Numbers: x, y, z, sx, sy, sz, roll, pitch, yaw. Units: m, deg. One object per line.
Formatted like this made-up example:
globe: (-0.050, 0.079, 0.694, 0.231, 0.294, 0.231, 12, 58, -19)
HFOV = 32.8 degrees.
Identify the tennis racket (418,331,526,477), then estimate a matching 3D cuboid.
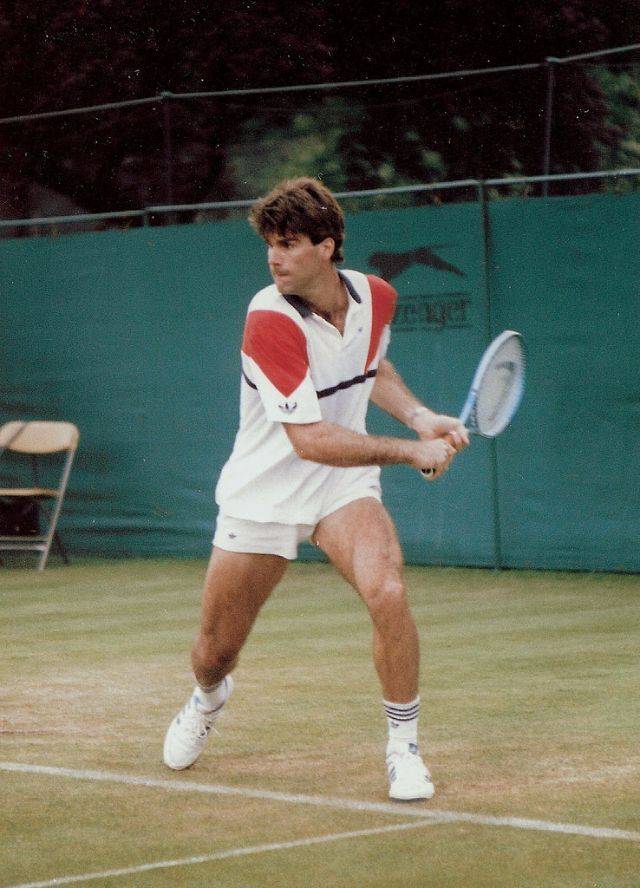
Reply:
tennis racket: (0.773, -0.180, 5.323, 0.120, 0.378, 1.096, 18, 27, 23)

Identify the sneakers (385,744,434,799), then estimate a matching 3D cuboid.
sneakers: (0.240, 0.864, 2.872, 0.122, 0.118, 0.137, 0, 9, 2)

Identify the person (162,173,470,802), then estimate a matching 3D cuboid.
person: (0.016, 0.113, 3.119, 0.859, 1.721, 0.708, 3, 11, 23)
